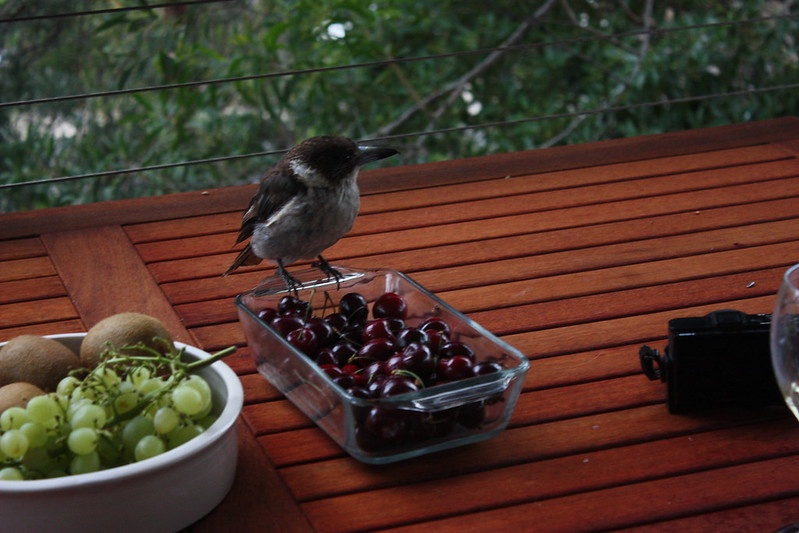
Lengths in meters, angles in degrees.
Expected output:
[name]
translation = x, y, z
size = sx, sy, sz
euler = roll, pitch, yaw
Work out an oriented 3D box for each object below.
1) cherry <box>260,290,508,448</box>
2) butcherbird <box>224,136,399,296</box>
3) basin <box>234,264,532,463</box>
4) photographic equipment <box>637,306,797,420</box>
[cherry]
translation = -0.027, 0.130, 1.129
size = 0.240, 0.110, 0.387
euler = -11, 24, -27
[butcherbird]
translation = -0.208, -0.117, 1.409
size = 0.392, 0.279, 0.223
euler = 8, 11, 36
[basin]
translation = -0.022, 0.182, 1.224
size = 0.363, 0.117, 0.516
euler = -6, 17, -23
[photographic equipment]
translation = 0.525, 0.169, 1.105
size = 0.285, 0.160, 0.072
euler = -2, 36, 5
